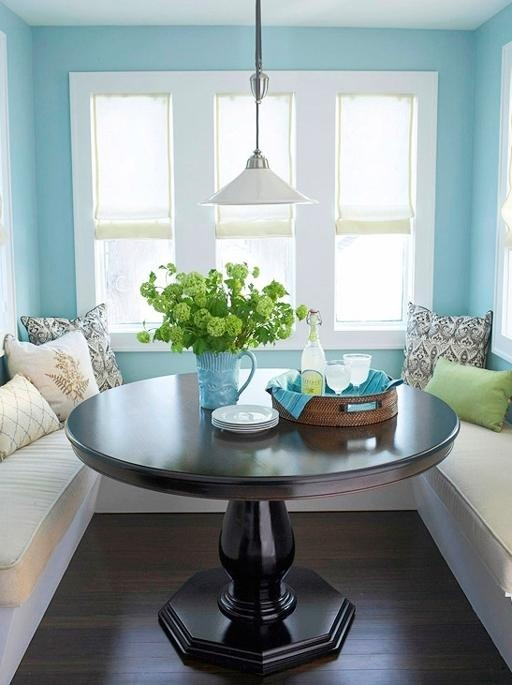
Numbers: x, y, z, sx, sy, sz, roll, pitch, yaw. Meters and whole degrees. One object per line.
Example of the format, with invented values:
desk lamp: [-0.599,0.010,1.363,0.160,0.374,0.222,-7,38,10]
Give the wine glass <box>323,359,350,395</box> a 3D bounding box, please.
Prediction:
wine glass: [0.219,0.093,1.608,0.077,0.132,0.085,0,9,5]

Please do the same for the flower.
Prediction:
flower: [-0.050,-0.045,1.775,0.343,0.267,0.452,1,-3,34]

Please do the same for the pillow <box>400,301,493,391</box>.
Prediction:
pillow: [0.971,0.063,3.099,0.437,0.526,0.198,7,-16,32]

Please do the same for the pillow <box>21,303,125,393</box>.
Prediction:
pillow: [-0.887,0.074,3.096,0.259,0.493,0.520,-10,2,18]

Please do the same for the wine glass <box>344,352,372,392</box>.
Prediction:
wine glass: [0.266,0.086,1.635,0.085,0.134,0.090,0,4,-1]

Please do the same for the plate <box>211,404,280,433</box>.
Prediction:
plate: [-0.031,0.206,1.574,0.179,0.047,0.172,5,9,40]

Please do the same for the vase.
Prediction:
vase: [-0.087,0.104,1.768,0.182,0.177,0.120,1,6,4]

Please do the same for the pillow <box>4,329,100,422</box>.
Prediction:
pillow: [-0.899,0.147,2.527,0.197,0.354,0.370,0,8,29]
